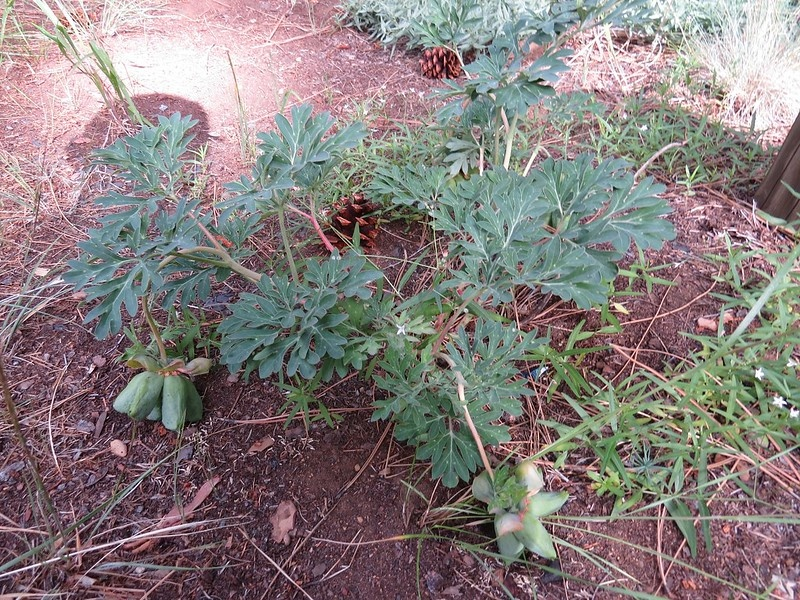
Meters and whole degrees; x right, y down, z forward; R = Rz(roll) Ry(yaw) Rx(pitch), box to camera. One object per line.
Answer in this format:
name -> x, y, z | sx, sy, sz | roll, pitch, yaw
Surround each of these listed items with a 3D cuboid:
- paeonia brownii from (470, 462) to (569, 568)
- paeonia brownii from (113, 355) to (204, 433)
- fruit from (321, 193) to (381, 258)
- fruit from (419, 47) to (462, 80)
paeonia brownii -> 0.398, 0.684, 1.786 | 0.326, 0.156, 0.323 | -10, 88, -6
paeonia brownii -> -0.858, 0.323, 1.972 | 0.321, 0.231, 0.269 | 9, 8, 18
fruit -> -0.212, -0.391, 2.471 | 0.282, 0.289, 0.275 | 13, 42, 15
fruit -> 0.265, -1.514, 3.302 | 0.279, 0.195, 0.167 | 7, 43, 0
